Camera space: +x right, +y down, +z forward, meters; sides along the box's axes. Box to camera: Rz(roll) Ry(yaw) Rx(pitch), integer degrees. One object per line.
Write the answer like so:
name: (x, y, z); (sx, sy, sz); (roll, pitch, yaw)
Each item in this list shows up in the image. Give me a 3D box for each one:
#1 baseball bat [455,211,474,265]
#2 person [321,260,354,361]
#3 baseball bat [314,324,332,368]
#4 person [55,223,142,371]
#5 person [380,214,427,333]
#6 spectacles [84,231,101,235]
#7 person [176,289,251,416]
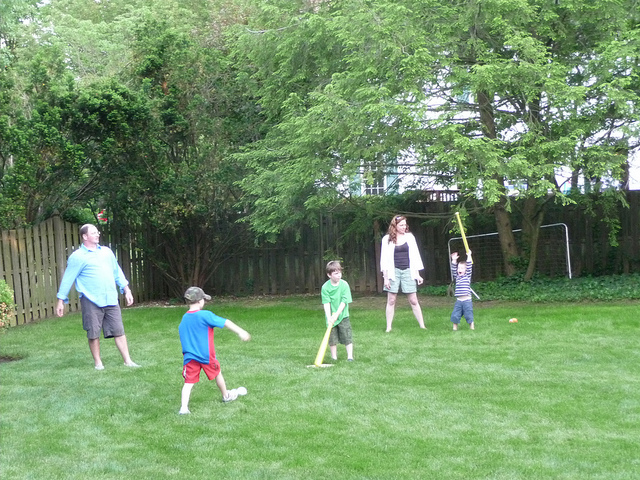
baseball bat: (3.326, -0.070, 17.394); (0.093, 1.394, 0.109); (-23, -3, -20)
person: (0.271, 1.067, 11.509); (0.464, 1.574, 0.730); (-1, 8, 1)
baseball bat: (0.033, 1.613, 11.202); (0.137, 0.910, 0.140); (15, -21, -3)
person: (-3.354, 0.847, 11.209); (1.095, 2.137, 0.711); (-3, 9, -16)
person: (1.476, 0.551, 13.208); (0.783, 2.008, 0.861); (-1, 8, -1)
spectacles: (-3.409, -0.108, 11.286); (0.091, 0.045, 0.306); (0, 9, 7)
person: (-1.485, 1.411, 9.730); (0.780, 1.537, 0.597); (-2, 9, -7)
